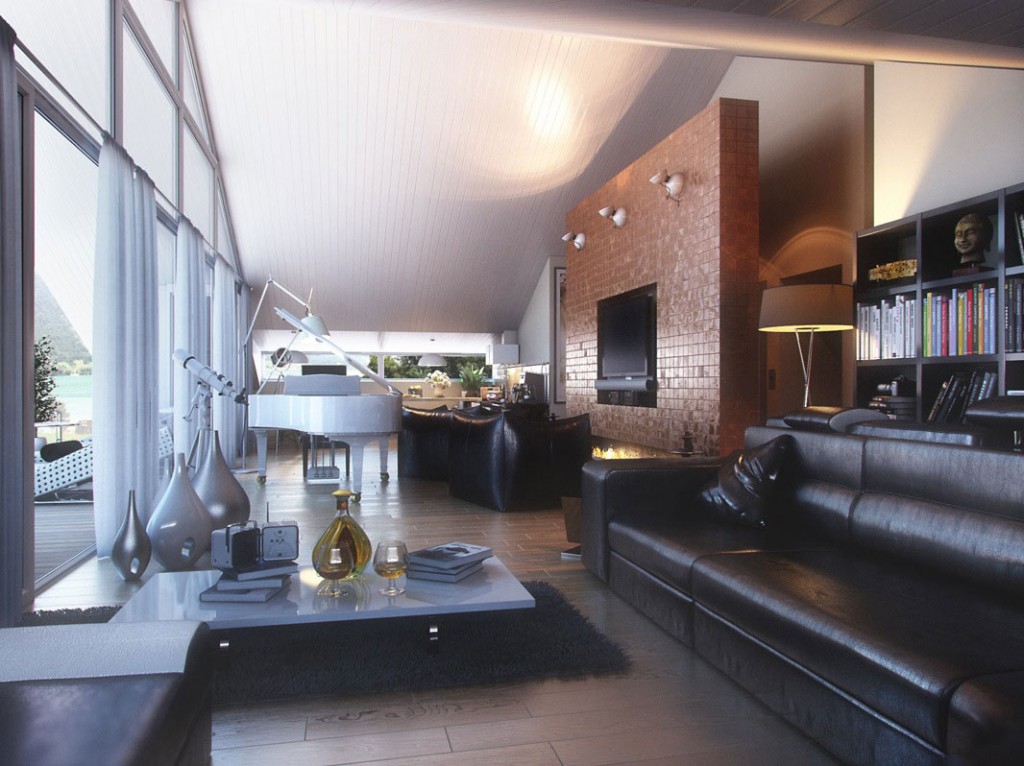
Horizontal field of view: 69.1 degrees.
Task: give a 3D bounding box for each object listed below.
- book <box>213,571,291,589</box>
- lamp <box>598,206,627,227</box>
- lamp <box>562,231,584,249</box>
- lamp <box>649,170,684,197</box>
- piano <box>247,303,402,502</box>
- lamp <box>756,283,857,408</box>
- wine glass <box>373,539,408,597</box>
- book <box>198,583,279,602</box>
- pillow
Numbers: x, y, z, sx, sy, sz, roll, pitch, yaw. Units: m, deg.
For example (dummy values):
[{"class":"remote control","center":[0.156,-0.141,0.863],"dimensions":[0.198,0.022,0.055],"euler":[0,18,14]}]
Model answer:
[{"class":"book","center":[-0.997,0.754,2.839],"dimensions":[0.126,0.032,0.132],"euler":[1,-1,-2]},{"class":"lamp","center":[0.934,-1.557,7.074],"dimensions":[0.194,0.203,0.495],"euler":[0,4,-7]},{"class":"lamp","center":[0.663,-1.588,8.069],"dimensions":[0.171,0.266,0.261],"euler":[0,10,-15]},{"class":"lamp","center":[1.225,-1.574,5.891],"dimensions":[0.165,0.232,0.244],"euler":[-1,4,-17]},{"class":"piano","center":[-1.548,0.251,7.058],"dimensions":[1.835,2.153,1.698],"euler":[0,-1,-5]},{"class":"lamp","center":[1.990,-0.186,5.049],"dimensions":[0.660,0.825,0.696],"euler":[-6,19,16]},{"class":"wine glass","center":[-0.488,0.720,2.987],"dimensions":[0.125,0.194,0.265],"euler":[0,4,-8]},{"class":"book","center":[-1.041,0.797,2.828],"dimensions":[0.282,0.061,0.101],"euler":[0,4,-7]},{"class":"pillow","center":[1.038,0.399,3.427],"dimensions":[0.114,0.401,0.389],"euler":[20,-6,-3]}]
